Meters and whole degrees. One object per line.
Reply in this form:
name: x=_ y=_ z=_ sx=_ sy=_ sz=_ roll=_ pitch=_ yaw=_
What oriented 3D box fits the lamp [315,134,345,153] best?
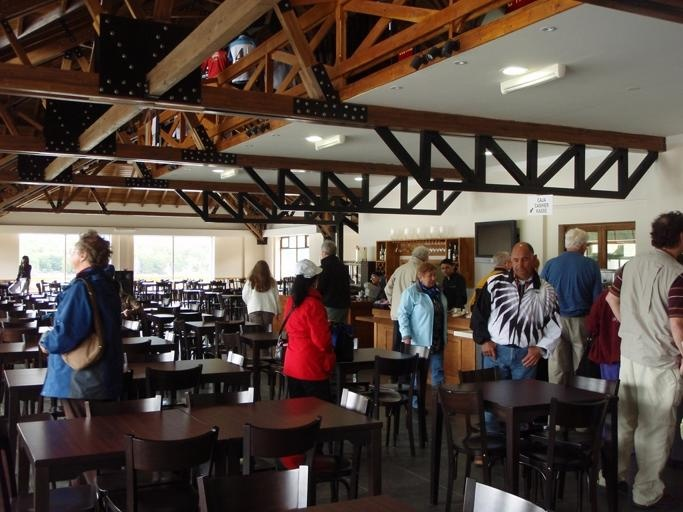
lamp: x=-0.137 y=-1.394 z=7.253 sx=0.218 sy=0.064 sz=0.701 roll=2 pitch=-1 yaw=-30

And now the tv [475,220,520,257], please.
tv: x=2.448 y=-0.222 z=9.352 sx=0.101 sy=0.636 sz=0.905 roll=1 pitch=-1 yaw=-27

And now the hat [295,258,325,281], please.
hat: x=-0.257 y=0.114 z=4.922 sx=0.184 sy=0.097 sz=0.139 roll=-12 pitch=18 yaw=-38

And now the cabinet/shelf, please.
cabinet/shelf: x=1.427 y=0.176 z=10.713 sx=0.343 sy=0.907 sz=2.477 roll=1 pitch=-1 yaw=-30

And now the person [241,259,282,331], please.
person: x=-1.141 y=0.714 z=8.458 sx=0.543 sy=1.299 sz=0.403 roll=0 pitch=22 yaw=-10
